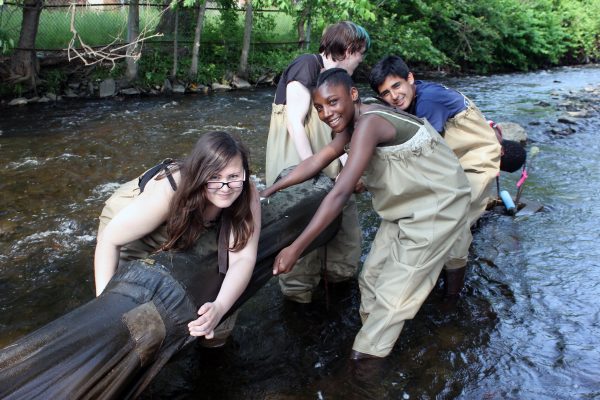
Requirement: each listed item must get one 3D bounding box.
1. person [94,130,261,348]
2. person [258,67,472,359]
[{"bbox_3d":[-0.825,0.175,2.812,0.982,1.248,0.694,6,18,10],"label":"person"},{"bbox_3d":[0.660,0.136,3.366,1.489,2.271,0.813,5,18,5],"label":"person"}]
